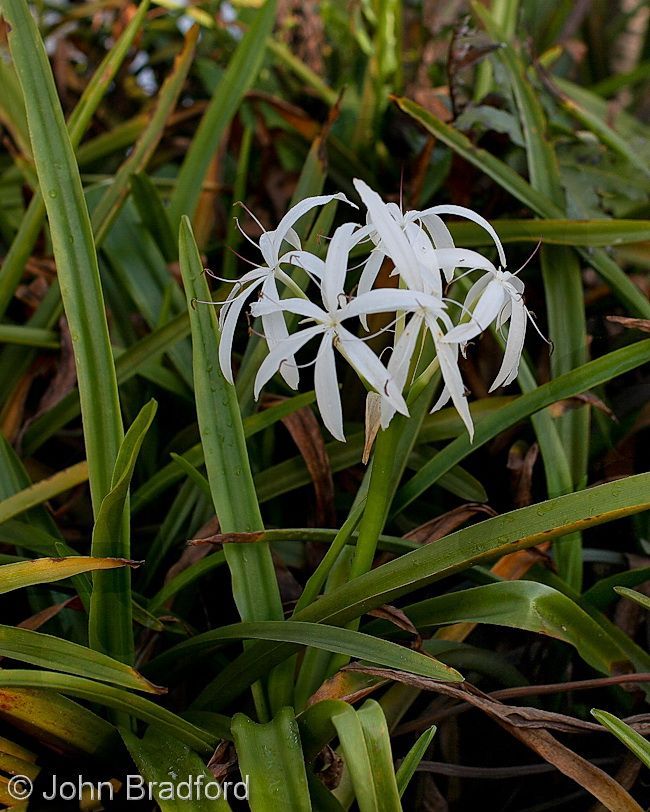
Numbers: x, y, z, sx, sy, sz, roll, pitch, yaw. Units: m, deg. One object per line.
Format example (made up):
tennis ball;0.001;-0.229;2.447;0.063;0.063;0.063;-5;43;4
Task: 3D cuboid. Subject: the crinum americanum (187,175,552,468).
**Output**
crinum americanum;0.038;-0.043;0.709;0.284;0.136;0.241;6;43;4
